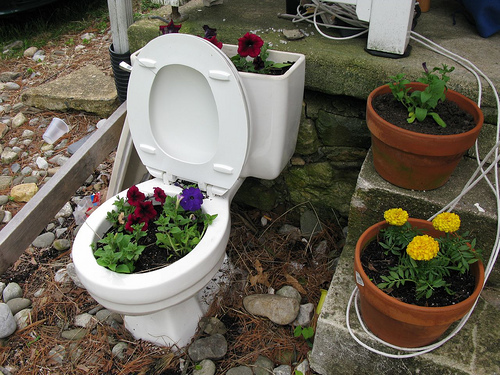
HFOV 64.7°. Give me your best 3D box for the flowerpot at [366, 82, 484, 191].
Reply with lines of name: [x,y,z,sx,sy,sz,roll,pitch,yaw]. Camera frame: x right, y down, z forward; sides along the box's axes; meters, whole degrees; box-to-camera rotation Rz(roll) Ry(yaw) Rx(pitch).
flowerpot: [0.667,-0.189,1.557,0.392,0.299,0.414,-21,40,-18]

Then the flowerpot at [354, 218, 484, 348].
flowerpot: [0.507,0.423,1.465,0.416,0.336,0.434,-13,48,-9]

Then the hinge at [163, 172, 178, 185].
hinge: [-0.347,-0.042,1.768,0.056,0.062,0.050,8,47,9]

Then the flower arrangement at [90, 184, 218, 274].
flower arrangement: [-0.389,0.125,1.589,0.509,0.207,0.388,-16,49,-15]

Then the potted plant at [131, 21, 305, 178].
potted plant: [-0.201,-0.464,1.816,0.862,0.643,0.490,13,46,6]

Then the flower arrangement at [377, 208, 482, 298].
flower arrangement: [0.598,0.229,1.338,0.317,0.290,0.160,-33,95,-43]

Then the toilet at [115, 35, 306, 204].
toilet: [-0.154,-0.294,1.644,0.590,0.539,0.358,16,44,19]
